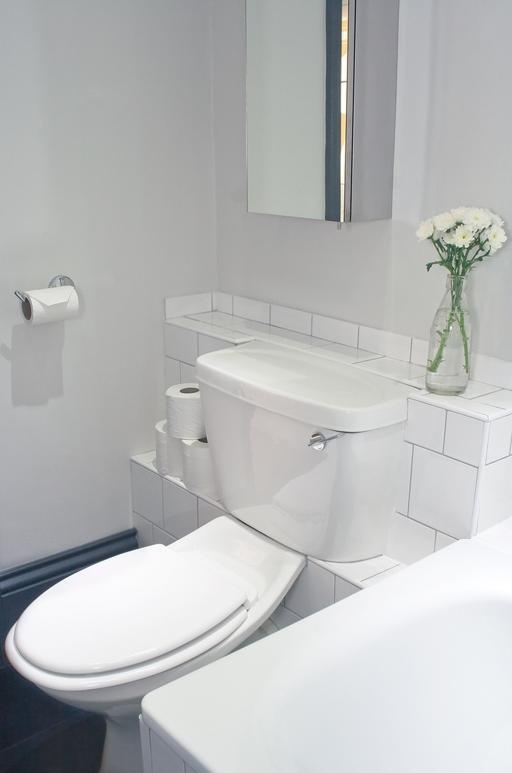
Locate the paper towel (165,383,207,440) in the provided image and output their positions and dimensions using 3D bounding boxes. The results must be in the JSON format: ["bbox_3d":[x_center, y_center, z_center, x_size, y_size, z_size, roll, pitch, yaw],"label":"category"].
[{"bbox_3d":[-0.190,0.071,1.748,0.119,0.139,0.127,0,22,4],"label":"paper towel"}]

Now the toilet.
[{"bbox_3d":[-0.190,0.220,1.609,1.021,1.065,0.634,-17,30,-35],"label":"toilet"}]

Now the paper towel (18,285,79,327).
[{"bbox_3d":[-0.501,-0.203,1.519,0.125,0.088,0.093,-17,44,-41],"label":"paper towel"}]

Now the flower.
[{"bbox_3d":[0.411,-0.204,1.245,0.163,0.313,0.250,7,19,21],"label":"flower"}]
